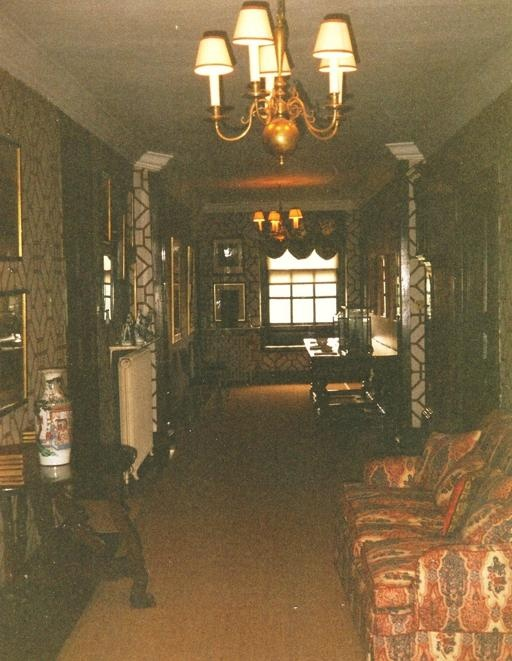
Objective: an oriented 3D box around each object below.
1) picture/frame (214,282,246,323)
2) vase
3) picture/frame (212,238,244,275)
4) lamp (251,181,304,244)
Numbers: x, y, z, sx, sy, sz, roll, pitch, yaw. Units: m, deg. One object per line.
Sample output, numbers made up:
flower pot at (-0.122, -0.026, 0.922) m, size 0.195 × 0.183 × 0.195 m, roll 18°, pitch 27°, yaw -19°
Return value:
picture/frame at (-0.523, -0.556, 11.180) m, size 0.590 × 0.886 × 0.096 m, roll -4°, pitch 40°, yaw -5°
vase at (-0.861, 0.372, 2.490) m, size 0.145 × 0.401 × 0.169 m, roll -1°, pitch 3°, yaw -20°
picture/frame at (-0.544, -1.401, 11.257) m, size 0.548 × 0.641 × 0.138 m, roll -2°, pitch 4°, yaw 0°
lamp at (0.394, -2.032, 9.707) m, size 0.913 × 1.420 × 0.927 m, roll -1°, pitch 2°, yaw -3°
